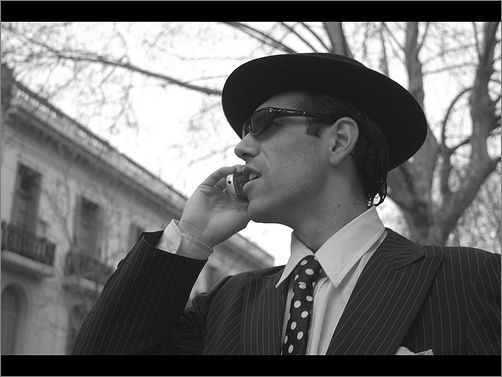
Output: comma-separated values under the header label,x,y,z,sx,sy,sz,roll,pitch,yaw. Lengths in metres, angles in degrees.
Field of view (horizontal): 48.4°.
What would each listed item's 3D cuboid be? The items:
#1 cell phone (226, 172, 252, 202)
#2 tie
label,x,y,z,sx,sy,sz,roll,pitch,yaw
cell phone,-0.072,-0.009,3.526,0.062,0.169,0.169,-21,-12,39
tie,0.275,0.608,2.972,0.144,0.565,0.129,5,-23,13
